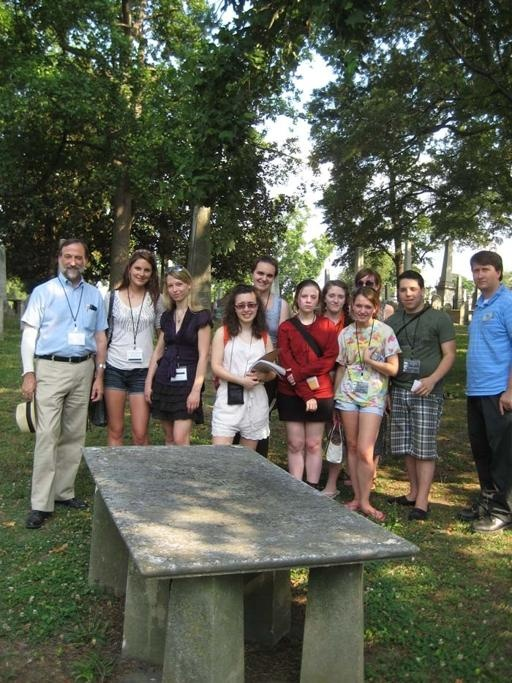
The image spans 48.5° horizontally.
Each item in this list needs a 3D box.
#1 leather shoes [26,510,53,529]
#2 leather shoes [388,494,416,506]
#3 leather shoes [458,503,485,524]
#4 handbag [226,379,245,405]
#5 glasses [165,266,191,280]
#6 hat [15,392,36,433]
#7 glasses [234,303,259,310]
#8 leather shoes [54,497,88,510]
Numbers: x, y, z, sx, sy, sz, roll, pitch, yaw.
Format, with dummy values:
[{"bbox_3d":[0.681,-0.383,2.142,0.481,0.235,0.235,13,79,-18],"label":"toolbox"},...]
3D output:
[{"bbox_3d":[-1.611,1.299,4.209,0.141,0.107,0.288,4,0,-8],"label":"leather shoes"},{"bbox_3d":[1.254,1.346,4.850,0.213,0.075,0.075,7,-1,13],"label":"leather shoes"},{"bbox_3d":[1.672,1.377,4.528,0.269,0.110,0.093,-7,17,-16],"label":"leather shoes"},{"bbox_3d":[-0.150,0.377,4.220,0.163,0.191,0.058,2,-2,2],"label":"handbag"},{"bbox_3d":[-0.589,-0.526,4.380,0.129,0.129,0.039,0,23,11],"label":"glasses"},{"bbox_3d":[-1.732,0.560,4.286,0.135,0.227,0.448,4,0,-22],"label":"hat"},{"bbox_3d":[-0.076,-0.267,4.301,0.148,0.054,0.069,4,0,-3],"label":"glasses"},{"bbox_3d":[-1.475,1.305,4.550,0.270,0.102,0.098,0,4,-2],"label":"leather shoes"}]
